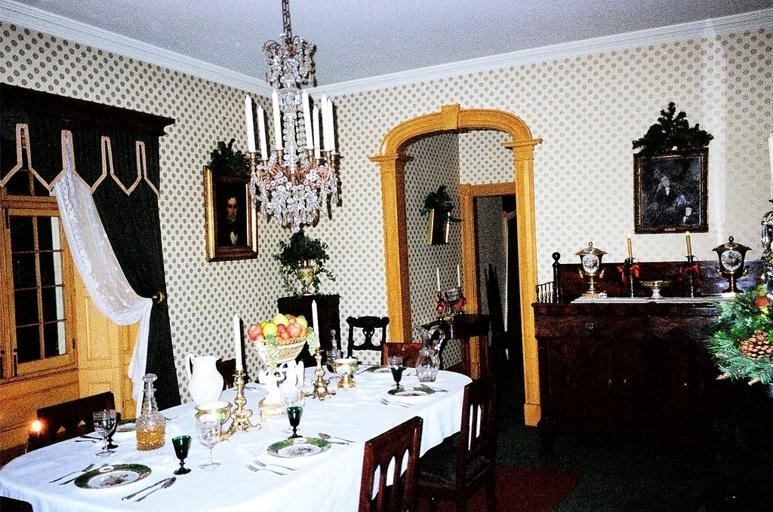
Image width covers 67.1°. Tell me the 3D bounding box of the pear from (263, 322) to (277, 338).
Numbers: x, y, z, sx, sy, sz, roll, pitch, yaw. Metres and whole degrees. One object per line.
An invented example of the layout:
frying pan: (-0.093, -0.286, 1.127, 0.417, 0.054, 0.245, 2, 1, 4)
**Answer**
pear: (-0.870, 0.545, 4.343, 0.087, 0.108, 0.089, 4, 17, 3)

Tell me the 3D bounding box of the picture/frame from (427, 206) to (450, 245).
picture/frame: (0.736, -0.459, 8.383, 0.080, 0.415, 0.576, -2, -1, 24)

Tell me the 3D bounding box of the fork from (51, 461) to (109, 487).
fork: (-1.944, 1.367, 3.660, 0.095, 0.038, 0.335, 4, 5, 22)

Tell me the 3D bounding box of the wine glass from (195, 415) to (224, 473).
wine glass: (-1.139, 1.154, 3.736, 0.145, 0.334, 0.267, -6, 13, -18)

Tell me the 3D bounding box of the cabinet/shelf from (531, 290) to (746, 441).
cabinet/shelf: (2.652, 1.133, 6.392, 2.354, 2.028, 1.410, -1, -4, 22)

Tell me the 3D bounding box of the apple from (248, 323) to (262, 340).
apple: (-1.007, 0.574, 4.450, 0.109, 0.117, 0.112, -6, 15, -5)

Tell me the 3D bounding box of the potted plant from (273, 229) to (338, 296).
potted plant: (-1.103, 0.078, 7.679, 0.762, 0.870, 0.835, -3, 5, -42)

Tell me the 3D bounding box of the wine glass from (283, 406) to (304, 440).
wine glass: (-0.625, 1.145, 3.990, 0.178, 0.273, 0.186, 0, -10, 0)

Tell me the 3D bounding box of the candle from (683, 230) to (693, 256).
candle: (3.188, -0.126, 6.127, 0.092, 0.247, 0.151, 4, 14, 23)

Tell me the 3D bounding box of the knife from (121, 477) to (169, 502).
knife: (-1.422, 1.395, 3.464, 0.083, 0.031, 0.284, 7, 7, 19)

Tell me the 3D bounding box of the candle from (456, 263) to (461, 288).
candle: (1.139, 0.290, 9.129, 0.074, 0.334, 0.227, 2, 13, 16)

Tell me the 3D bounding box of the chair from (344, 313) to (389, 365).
chair: (-0.225, 0.935, 6.710, 0.588, 0.882, 0.602, 0, -9, 4)

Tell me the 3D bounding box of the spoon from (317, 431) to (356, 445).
spoon: (-0.344, 1.228, 3.928, 0.294, 0.050, 0.081, -5, 4, 14)

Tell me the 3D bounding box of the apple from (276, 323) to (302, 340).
apple: (-0.733, 0.576, 4.416, 0.151, 0.071, 0.103, 11, 22, -17)

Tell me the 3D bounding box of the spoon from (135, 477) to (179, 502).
spoon: (-1.370, 1.389, 3.480, 0.062, 0.041, 0.369, 10, 5, 11)

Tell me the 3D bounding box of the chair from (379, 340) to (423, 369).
chair: (0.145, 0.928, 5.672, 0.408, 0.426, 0.237, 0, -3, 7)

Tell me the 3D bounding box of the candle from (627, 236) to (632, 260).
candle: (2.640, -0.088, 6.311, 0.081, 0.242, 0.170, 3, 14, 22)

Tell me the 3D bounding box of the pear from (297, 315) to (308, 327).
pear: (-0.678, 0.515, 4.616, 0.085, 0.104, 0.083, -3, -15, 2)

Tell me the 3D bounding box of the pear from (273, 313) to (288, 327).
pear: (-0.823, 0.493, 4.507, 0.089, 0.110, 0.087, -2, -16, -19)
